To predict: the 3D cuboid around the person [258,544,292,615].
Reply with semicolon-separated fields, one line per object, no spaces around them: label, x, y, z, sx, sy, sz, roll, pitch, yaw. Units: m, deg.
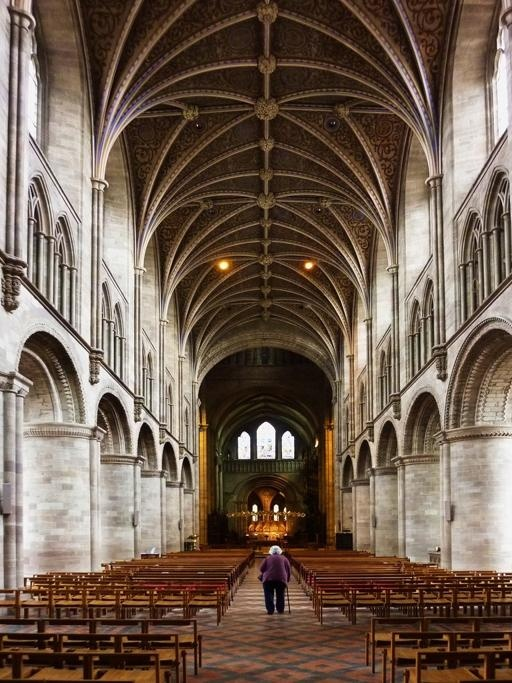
person;0.385;4.289;14.539;0.622;1.316;0.503;16;-44;-16
